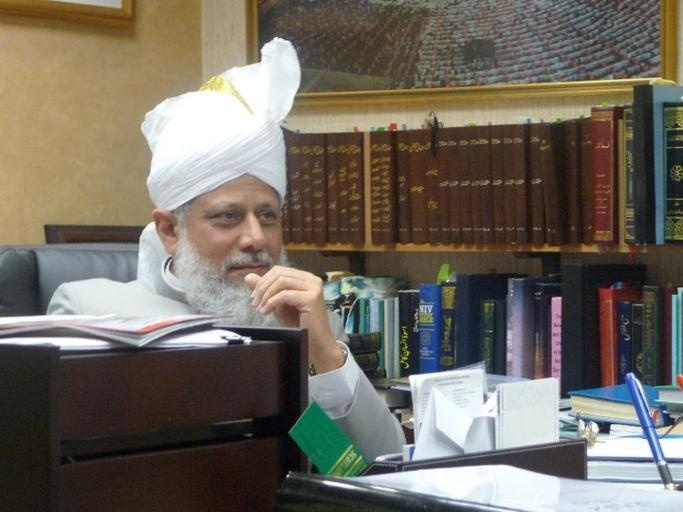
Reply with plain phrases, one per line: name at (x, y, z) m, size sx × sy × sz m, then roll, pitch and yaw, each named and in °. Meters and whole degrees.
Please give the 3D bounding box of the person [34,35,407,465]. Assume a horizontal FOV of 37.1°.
person at (-0.251, -0.050, 2.460) m, size 0.873 × 0.969 × 0.504 m, roll 0°, pitch 2°, yaw 22°
